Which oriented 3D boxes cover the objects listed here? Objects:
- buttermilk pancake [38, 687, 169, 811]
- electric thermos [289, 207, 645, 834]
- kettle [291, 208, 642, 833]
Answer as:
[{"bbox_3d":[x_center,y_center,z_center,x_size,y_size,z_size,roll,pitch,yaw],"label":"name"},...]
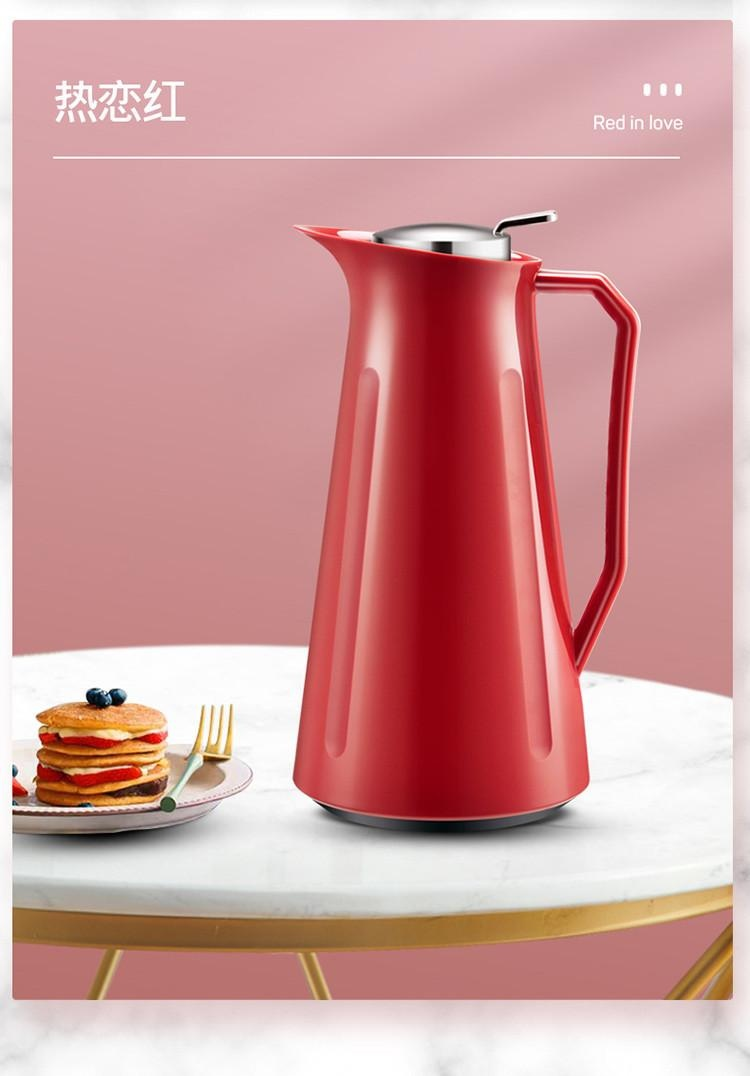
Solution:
[{"bbox_3d":[-0.190,0.142,0.664,0.093,0.070,0.089,6,-6,-17],"label":"buttermilk pancake"},{"bbox_3d":[0.060,-0.011,0.623,0.210,0.388,0.240,-2,0,-15],"label":"electric thermos"},{"bbox_3d":[0.060,-0.003,0.598,0.221,0.379,0.090,0,6,-5],"label":"kettle"}]
